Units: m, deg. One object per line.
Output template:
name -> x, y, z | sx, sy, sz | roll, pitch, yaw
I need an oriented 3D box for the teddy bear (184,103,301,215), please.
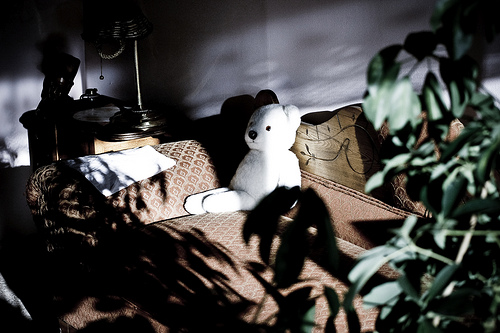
teddy bear -> -0.004, -0.028, 1.890 | 0.487, 0.549, 0.404 | 8, -7, -30
